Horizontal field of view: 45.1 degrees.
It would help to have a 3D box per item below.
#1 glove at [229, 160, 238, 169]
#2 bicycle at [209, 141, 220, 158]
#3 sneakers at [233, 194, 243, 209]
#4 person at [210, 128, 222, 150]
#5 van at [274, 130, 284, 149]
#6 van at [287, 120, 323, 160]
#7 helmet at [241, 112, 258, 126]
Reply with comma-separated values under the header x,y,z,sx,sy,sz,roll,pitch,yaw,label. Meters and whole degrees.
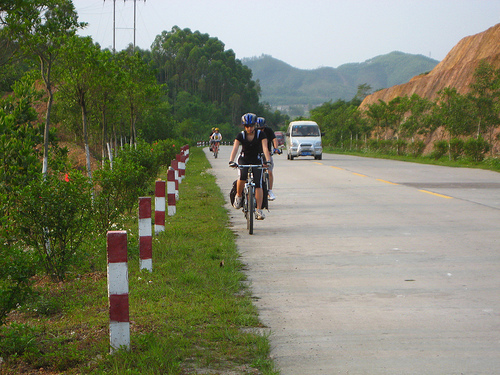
x,y,z,sx,sy,sz,roll,pitch,yaw,label
-0.348,-0.486,12.583,0.175,0.153,0.324,0,10,-2,glove
-2.467,-2.796,42.216,0.689,1.003,1.537,0,7,-6,bicycle
-0.270,0.296,13.269,0.120,0.153,0.376,1,35,-3,sneakers
-2.405,-3.541,41.869,0.706,1.069,1.569,0,7,-1,person
3.831,-5.748,71.164,2.115,2.119,3.904,0,4,-1,van
3.274,-3.054,37.660,1.398,1.711,2.996,-1,1,0,van
-0.024,-1.395,12.336,0.289,0.283,0.700,0,10,-3,helmet
